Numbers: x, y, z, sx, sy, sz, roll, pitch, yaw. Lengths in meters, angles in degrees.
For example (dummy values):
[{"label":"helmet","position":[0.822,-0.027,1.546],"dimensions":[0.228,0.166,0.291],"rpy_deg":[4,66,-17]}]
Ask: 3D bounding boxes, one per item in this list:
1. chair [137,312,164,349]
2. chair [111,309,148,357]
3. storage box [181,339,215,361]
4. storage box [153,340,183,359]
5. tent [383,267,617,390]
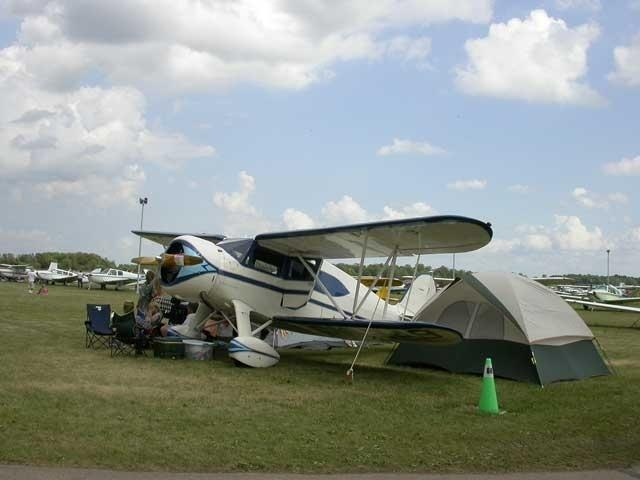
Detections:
[{"label":"chair","position":[-3.689,1.909,11.345],"dimensions":[0.628,0.674,0.327],"rpy_deg":[5,-14,-1]},{"label":"chair","position":[-3.889,1.924,10.981],"dimensions":[0.921,0.716,0.713],"rpy_deg":[2,-19,1]},{"label":"storage box","position":[-2.465,2.187,10.805],"dimensions":[0.515,0.184,0.465],"rpy_deg":[6,-8,-30]},{"label":"storage box","position":[-3.043,2.115,10.759],"dimensions":[0.447,0.220,0.553],"rpy_deg":[4,-6,-21]},{"label":"tent","position":[3.670,1.660,11.141],"dimensions":[3.364,1.496,3.937],"rpy_deg":[4,-1,-28]}]
